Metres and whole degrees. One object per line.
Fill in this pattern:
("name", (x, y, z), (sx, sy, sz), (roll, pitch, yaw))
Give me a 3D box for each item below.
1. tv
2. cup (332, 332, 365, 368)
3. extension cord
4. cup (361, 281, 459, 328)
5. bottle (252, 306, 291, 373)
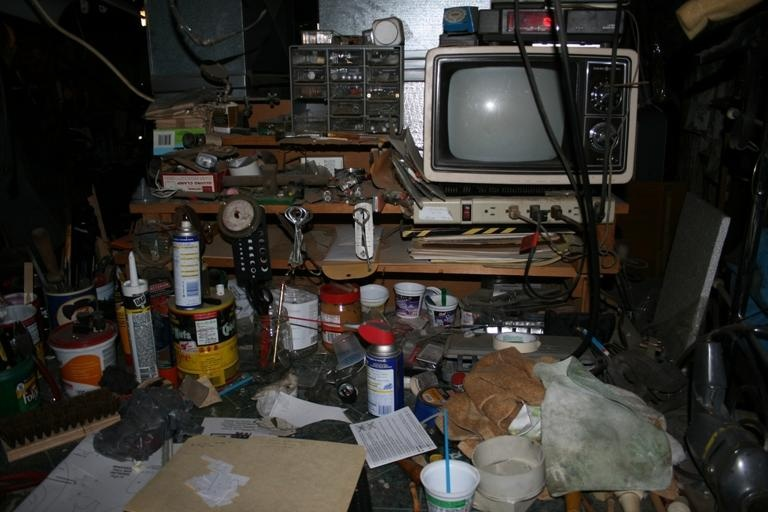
("tv", (0.619, -0.599, 2.559), (0.912, 0.618, 0.590), (1, 9, 4))
("cup", (-0.155, 0.416, 2.678), (0.088, 0.091, 0.157), (-23, 16, -3))
("extension cord", (0.494, -0.203, 2.648), (0.730, 0.113, 0.077), (0, 17, 3))
("cup", (0.158, 0.214, 2.964), (0.357, 0.147, 0.240), (15, 29, 0))
("bottle", (-0.504, 0.365, 2.722), (0.167, 0.249, 0.168), (-1, 17, 0))
